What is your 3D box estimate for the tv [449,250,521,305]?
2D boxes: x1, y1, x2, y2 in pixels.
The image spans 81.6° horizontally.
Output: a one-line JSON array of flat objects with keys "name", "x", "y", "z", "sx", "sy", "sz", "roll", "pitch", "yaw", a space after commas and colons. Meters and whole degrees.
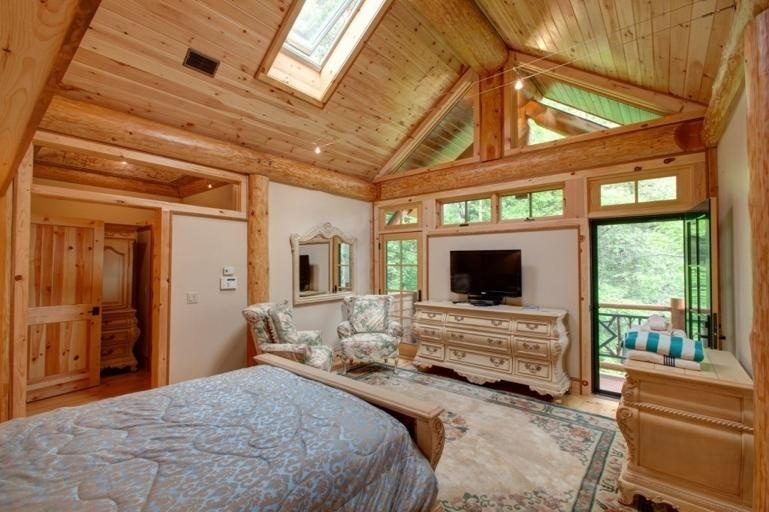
[{"name": "tv", "x": 1.394, "y": 0.281, "z": 5.975, "sx": 0.809, "sy": 0.523, "sz": 0.237, "roll": -1, "pitch": -4, "yaw": 38}]

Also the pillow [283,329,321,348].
[{"name": "pillow", "x": -1.050, "y": 1.029, "z": 5.625, "sx": 0.284, "sy": 0.216, "sz": 0.269, "roll": -3, "pitch": -4, "yaw": 15}]

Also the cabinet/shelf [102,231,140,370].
[{"name": "cabinet/shelf", "x": -3.750, "y": 0.645, "z": 6.265, "sx": 0.559, "sy": 1.951, "sz": 0.665, "roll": -6, "pitch": 13, "yaw": -28}]

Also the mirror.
[{"name": "mirror", "x": -0.950, "y": 0.114, "z": 6.630, "sx": 0.145, "sy": 1.313, "sz": 1.444, "roll": 0, "pitch": 1, "yaw": 42}]

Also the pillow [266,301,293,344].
[{"name": "pillow", "x": -1.187, "y": 0.813, "z": 5.460, "sx": 0.129, "sy": 0.394, "sz": 0.401, "roll": -10, "pitch": -9, "yaw": 27}]
